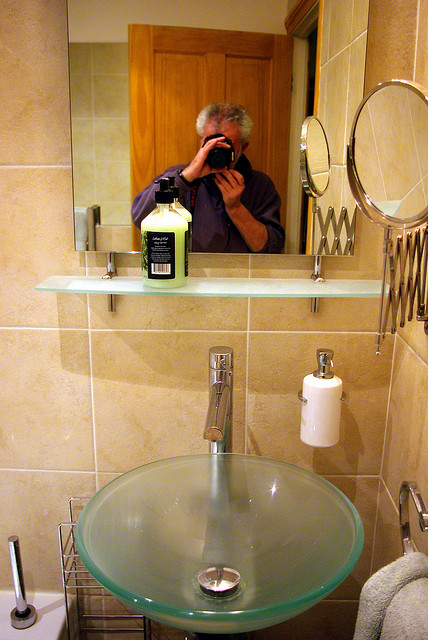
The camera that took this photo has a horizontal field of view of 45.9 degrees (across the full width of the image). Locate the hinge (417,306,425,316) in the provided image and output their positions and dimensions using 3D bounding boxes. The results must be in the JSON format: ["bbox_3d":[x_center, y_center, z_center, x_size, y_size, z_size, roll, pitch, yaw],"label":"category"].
[{"bbox_3d":[0.326,-0.013,0.791,0.009,0.015,0.006,0,10,23],"label":"hinge"}]

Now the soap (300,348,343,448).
[{"bbox_3d":[0.214,0.153,1.000,0.074,0.191,0.081,-6,16,-21],"label":"soap"}]

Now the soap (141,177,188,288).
[{"bbox_3d":[-0.096,-0.158,0.950,0.089,0.193,0.107,2,20,-5],"label":"soap"}]

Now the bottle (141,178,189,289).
[{"bbox_3d":[-0.090,-0.157,0.951,0.089,0.195,0.109,2,20,-5],"label":"bottle"}]

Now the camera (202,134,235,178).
[{"bbox_3d":[0.016,-0.319,0.976,0.069,0.065,0.053,1,9,2],"label":"camera"}]
